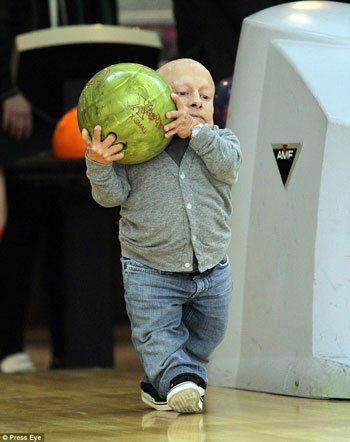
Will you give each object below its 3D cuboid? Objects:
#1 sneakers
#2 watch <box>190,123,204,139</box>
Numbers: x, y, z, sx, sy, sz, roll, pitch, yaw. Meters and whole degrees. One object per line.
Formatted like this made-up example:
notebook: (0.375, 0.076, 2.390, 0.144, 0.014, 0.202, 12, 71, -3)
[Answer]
sneakers: (-0.013, 0.288, 0.808, 0.052, 0.143, 0.056, 10, 72, -22)
watch: (0.043, -0.152, 0.828, 0.006, 0.023, 0.024, 21, 19, -28)
